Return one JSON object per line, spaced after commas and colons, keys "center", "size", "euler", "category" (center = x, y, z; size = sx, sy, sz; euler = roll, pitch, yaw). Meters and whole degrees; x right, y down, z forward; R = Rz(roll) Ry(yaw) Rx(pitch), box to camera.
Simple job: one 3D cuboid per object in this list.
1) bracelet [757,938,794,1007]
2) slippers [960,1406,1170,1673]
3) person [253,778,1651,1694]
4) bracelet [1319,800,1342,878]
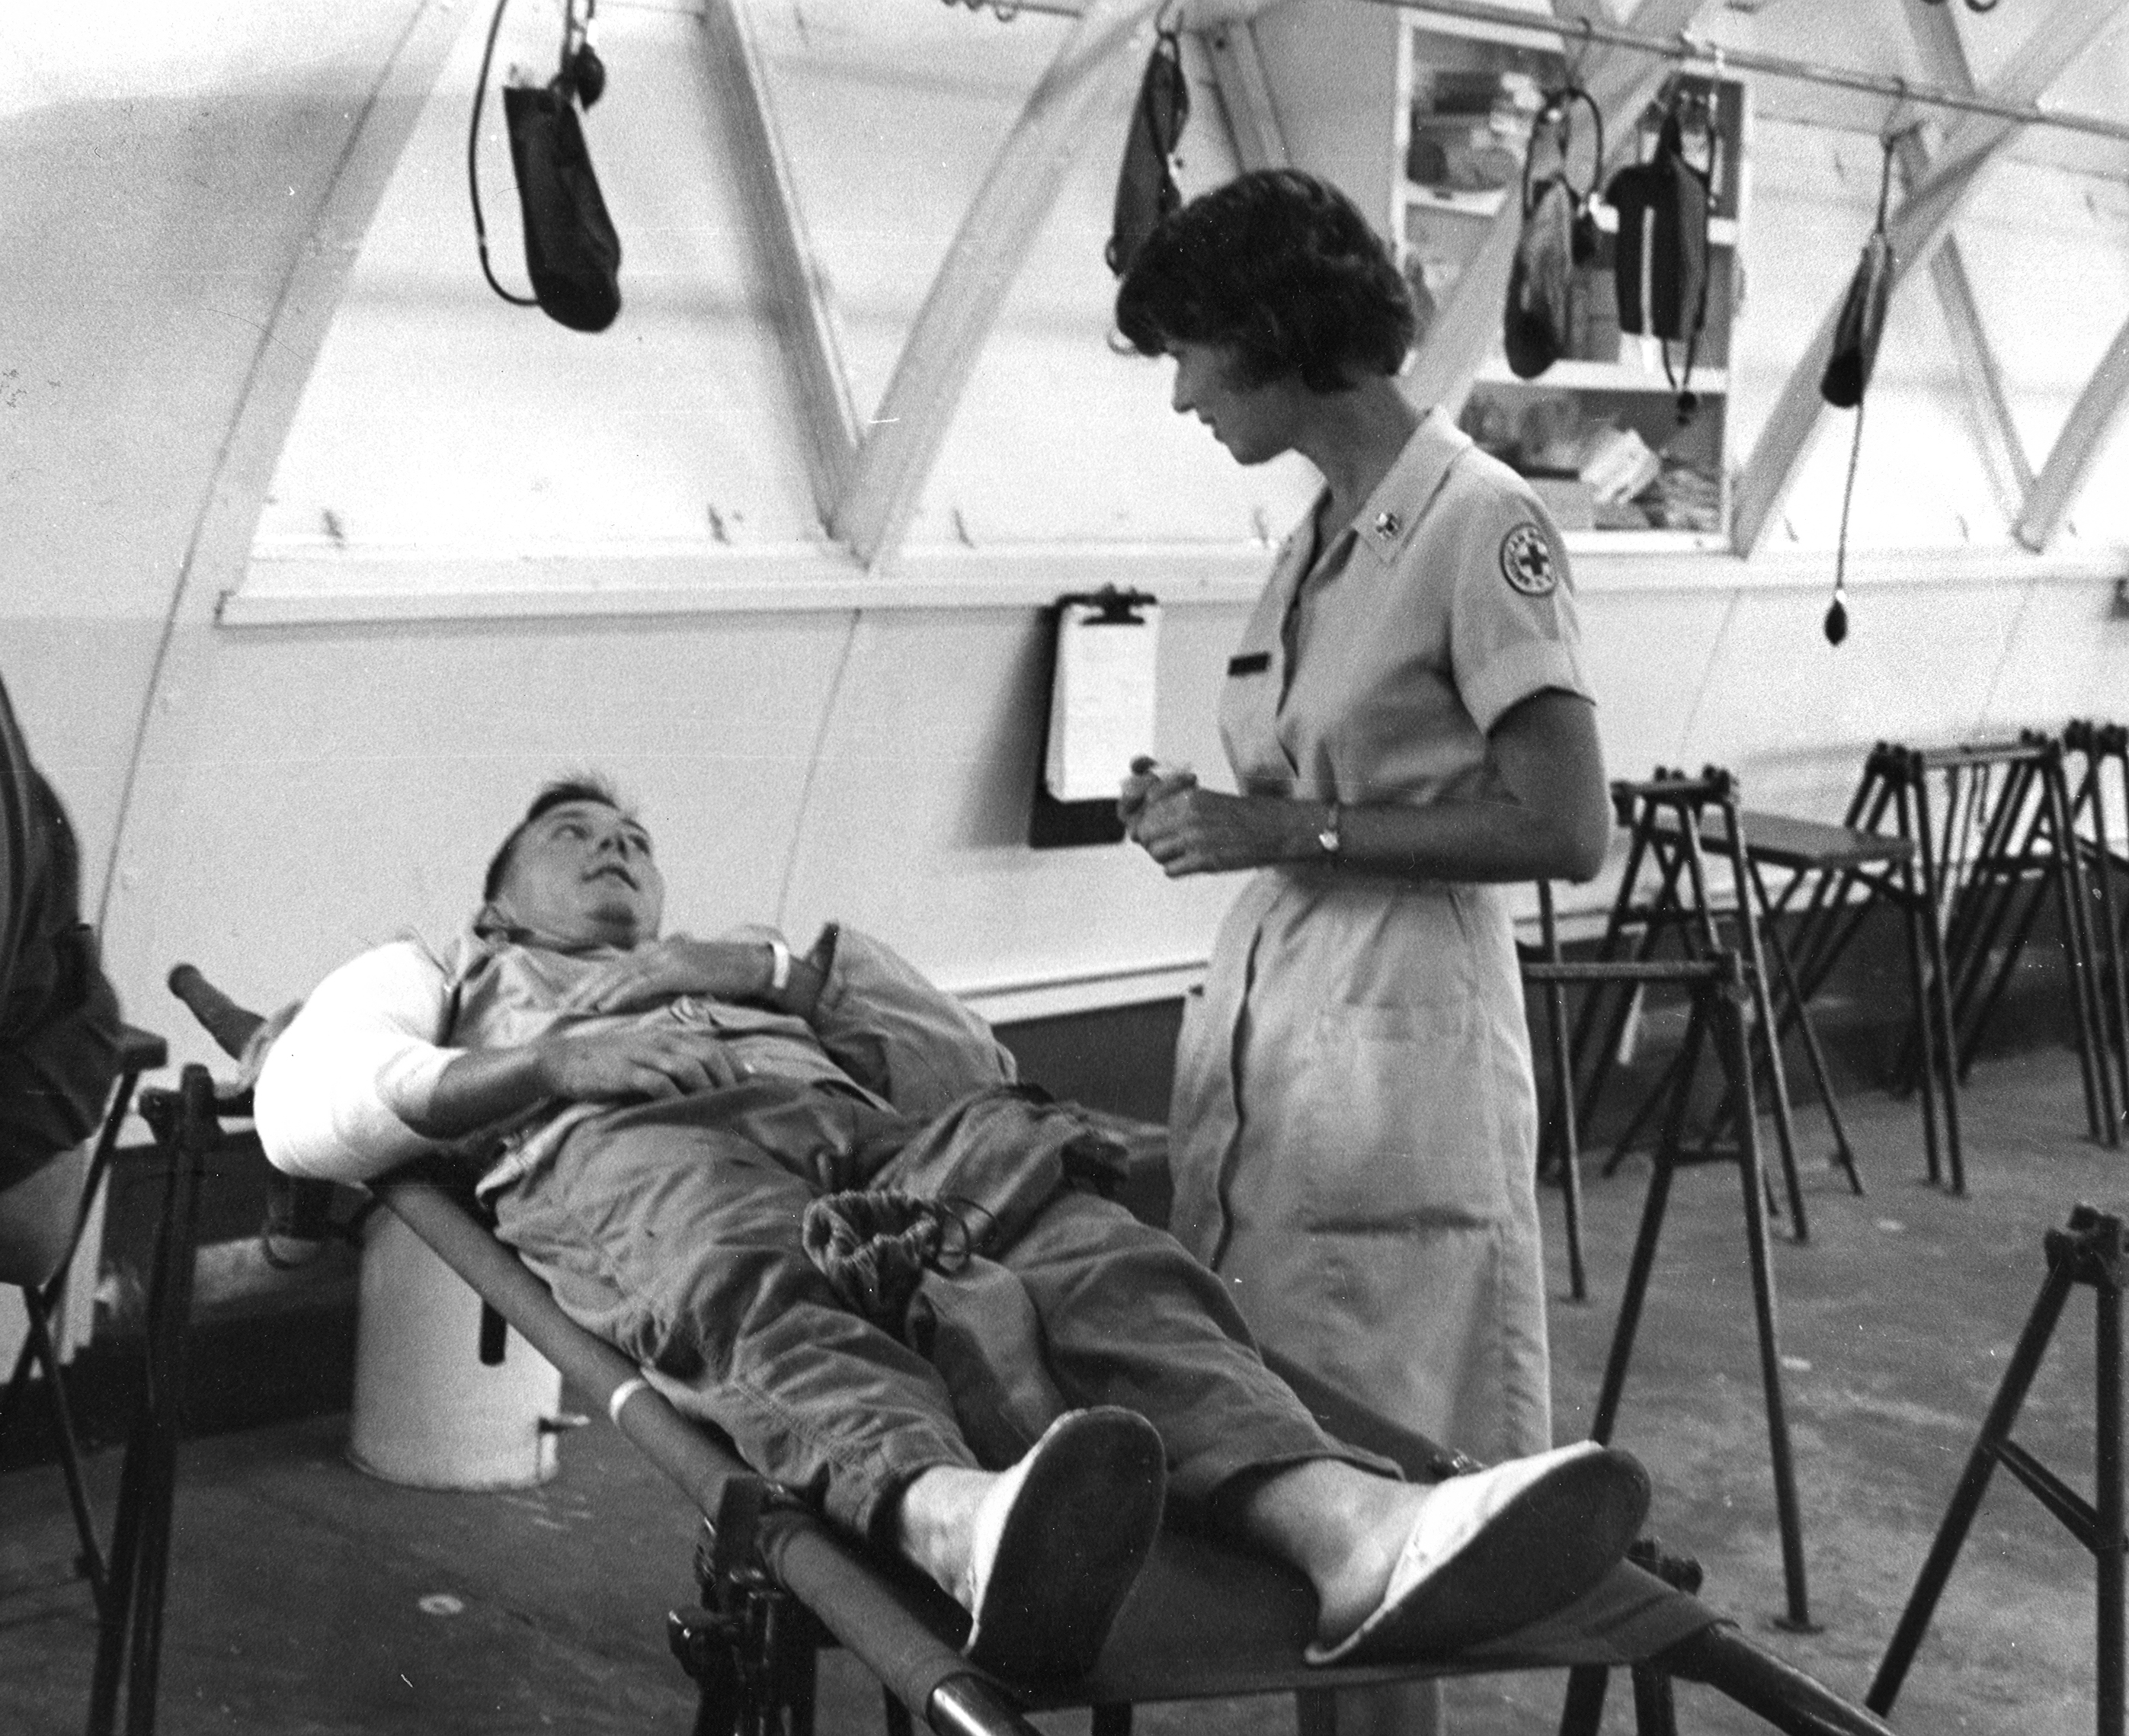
{"center": [-0.478, 0.164, 3.120], "size": [0.051, 0.086, 0.082], "euler": [1, -12, -2], "category": "bracelet"}
{"center": [-0.018, 0.564, 1.587], "size": [0.101, 0.312, 0.118], "euler": [12, 18, -16], "category": "slippers"}
{"center": [-0.309, 0.388, 2.254], "size": [0.725, 0.464, 1.619], "euler": [4, 18, -34], "category": "person"}
{"center": [0.303, -0.035, 2.132], "size": [0.034, 0.062, 0.056], "euler": [1, -6, 6], "category": "bracelet"}
